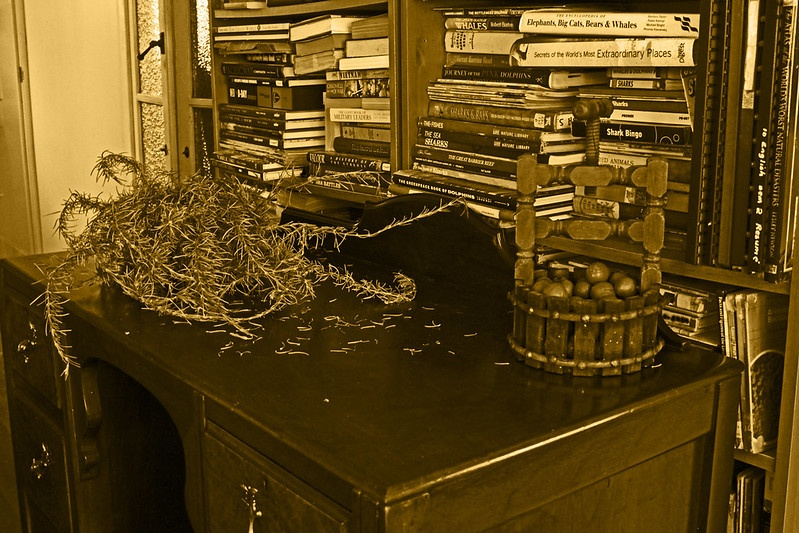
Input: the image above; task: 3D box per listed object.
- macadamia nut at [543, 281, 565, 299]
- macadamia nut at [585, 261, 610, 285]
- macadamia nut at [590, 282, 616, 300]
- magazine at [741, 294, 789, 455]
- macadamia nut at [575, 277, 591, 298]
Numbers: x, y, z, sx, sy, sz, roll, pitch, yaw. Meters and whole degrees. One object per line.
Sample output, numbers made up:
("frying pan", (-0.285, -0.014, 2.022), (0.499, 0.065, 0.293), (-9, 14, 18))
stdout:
("macadamia nut", (0.262, 0.040, 1.088), (0.043, 0.020, 0.032), (-6, 12, -16))
("macadamia nut", (0.341, 0.012, 1.106), (0.035, 0.035, 0.034), (-20, -32, 2))
("macadamia nut", (0.342, 0.042, 1.080), (0.029, 0.030, 0.030), (8, -15, -2))
("magazine", (0.708, 0.203, 1.241), (0.140, 0.307, 0.041), (-9, 12, -30))
("macadamia nut", (0.311, 0.036, 1.095), (0.028, 0.031, 0.026), (10, -14, -19))
